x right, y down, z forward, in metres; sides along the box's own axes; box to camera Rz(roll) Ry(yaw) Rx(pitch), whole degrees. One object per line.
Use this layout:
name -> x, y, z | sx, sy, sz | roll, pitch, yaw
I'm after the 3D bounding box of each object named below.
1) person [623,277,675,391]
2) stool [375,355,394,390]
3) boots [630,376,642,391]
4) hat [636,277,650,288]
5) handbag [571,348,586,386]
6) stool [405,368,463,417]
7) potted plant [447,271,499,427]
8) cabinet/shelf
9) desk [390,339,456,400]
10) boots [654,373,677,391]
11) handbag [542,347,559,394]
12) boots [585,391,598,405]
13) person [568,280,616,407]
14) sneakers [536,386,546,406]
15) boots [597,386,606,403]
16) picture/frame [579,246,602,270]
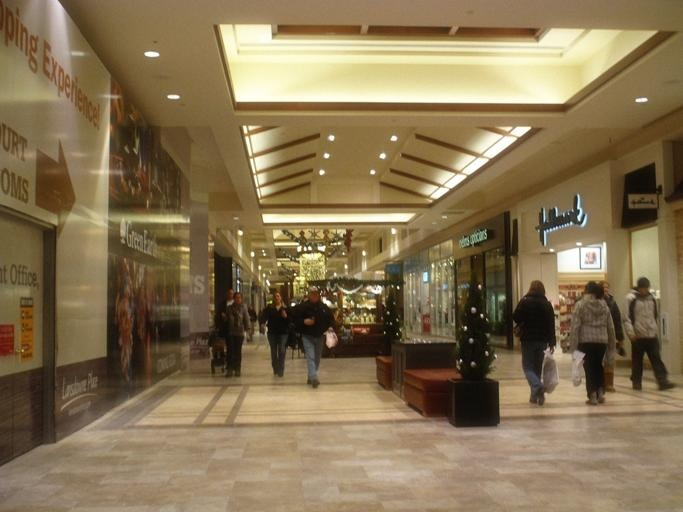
person -> 5.420, 1.394, 8.779 | 0.839, 1.996, 0.418 | 3, -7, -5
stool -> 0.808, 2.227, 9.339 | 0.409, 0.532, 0.773 | 1, -6, -3
boots -> 5.319, 2.313, 8.796 | 0.187, 0.240, 0.199 | 1, -8, -4
hat -> 5.396, 0.487, 8.804 | 0.205, 0.183, 0.211 | -18, -4, -44
handbag -> 3.725, 1.756, 7.655 | 0.174, 0.554, 0.250 | -2, -8, 27
stool -> 1.287, 1.947, 7.051 | 0.592, 0.443, 0.907 | 1, -3, -3
potted plant -> 1.738, 1.235, 6.402 | 0.620, 1.918, 0.313 | 0, -8, 14
cabinet/shelf -> 0.472, 2.155, 16.850 | 2.492, 2.664, 1.560 | 0, -6, 13
desk -> 1.318, 1.996, 8.552 | 0.706, 1.012, 1.394 | 0, -9, -4
boots -> 5.747, 2.244, 8.688 | 0.241, 0.269, 0.315 | -3, -10, 32
handbag -> 3.169, 1.734, 7.520 | 0.253, 0.736, 0.207 | -3, 15, -5
boots -> 3.863, 2.197, 7.538 | 0.161, 0.190, 0.169 | -2, -9, 29
person -> 4.026, 1.364, 7.809 | 0.861, 1.912, 0.396 | 7, -9, -32
sneakers -> 3.003, 2.111, 7.371 | 0.103, 0.315, 0.123 | 0, 2, 8
boots -> 4.004, 2.132, 7.539 | 0.109, 0.222, 0.053 | 3, -7, -6
picture/frame -> 8.853, 0.076, 17.418 | 0.725, 0.873, 0.041 | 2, -7, -5
